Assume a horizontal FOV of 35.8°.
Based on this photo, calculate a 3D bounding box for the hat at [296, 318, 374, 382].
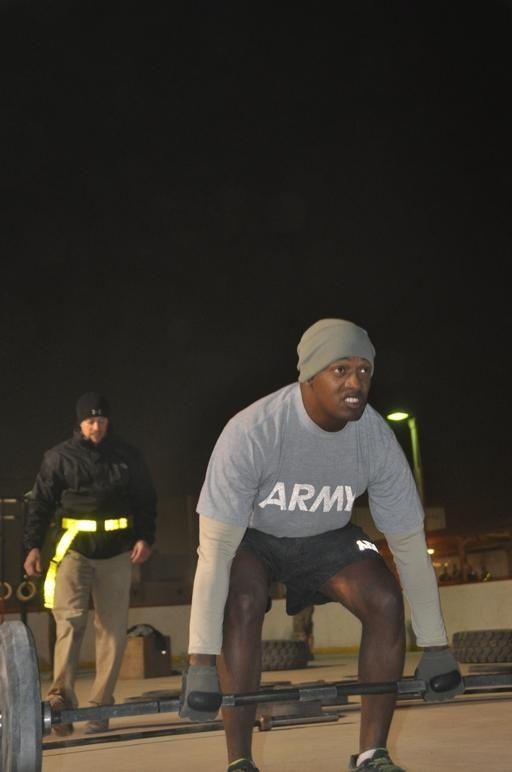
[{"bbox_3d":[0.230,-0.126,2.359,0.212,0.153,0.206,-8,11,-38],"label":"hat"}]

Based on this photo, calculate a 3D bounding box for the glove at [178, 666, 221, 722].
[{"bbox_3d":[-0.144,0.789,2.035,0.107,0.147,0.064,1,-20,-1],"label":"glove"}]

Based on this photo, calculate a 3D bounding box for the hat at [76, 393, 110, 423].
[{"bbox_3d":[-0.869,0.115,4.241,0.182,0.135,0.138,0,1,-29],"label":"hat"}]
